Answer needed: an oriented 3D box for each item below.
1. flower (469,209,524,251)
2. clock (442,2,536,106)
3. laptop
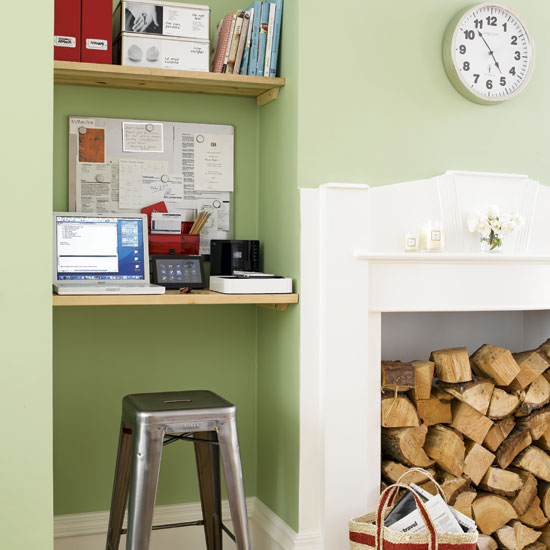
[{"bbox_3d":[0.880,-0.166,2.335,0.160,0.156,0.163,0,2,41],"label":"flower"},{"bbox_3d":[0.888,-0.925,2.442,0.411,0.394,0.076,-4,5,-21],"label":"clock"},{"bbox_3d":[-0.604,-0.092,2.111,0.350,0.316,0.288,0,0,-25],"label":"laptop"}]
